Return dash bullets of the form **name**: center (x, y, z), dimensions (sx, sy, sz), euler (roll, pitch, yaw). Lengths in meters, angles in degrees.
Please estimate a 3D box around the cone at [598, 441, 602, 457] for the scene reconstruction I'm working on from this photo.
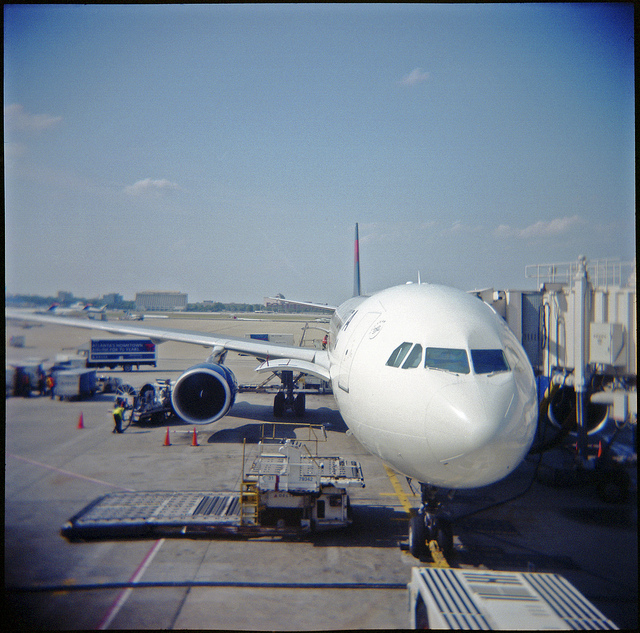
- **cone**: center (6.563, 3.101, 16.955), dimensions (0.077, 0.476, 0.100), euler (-4, 20, 4)

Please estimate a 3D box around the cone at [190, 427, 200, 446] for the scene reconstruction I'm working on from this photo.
- **cone**: center (-3.368, 3.294, 19.683), dimensions (0.264, 0.588, 0.294), euler (1, 6, 10)

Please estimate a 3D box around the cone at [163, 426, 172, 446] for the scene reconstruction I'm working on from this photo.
- **cone**: center (-4.273, 3.328, 20.190), dimensions (0.264, 0.621, 0.292), euler (3, 5, 21)

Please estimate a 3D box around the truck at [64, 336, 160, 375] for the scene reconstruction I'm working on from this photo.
- **truck**: center (-8.814, 1.709, 31.019), dimensions (3.662, 1.824, 1.591), euler (-2, 4, -20)

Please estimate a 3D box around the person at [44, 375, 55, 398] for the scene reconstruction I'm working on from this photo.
- **person**: center (-9.750, 2.494, 25.994), dimensions (0.227, 0.760, 0.690), euler (-1, -1, -39)
